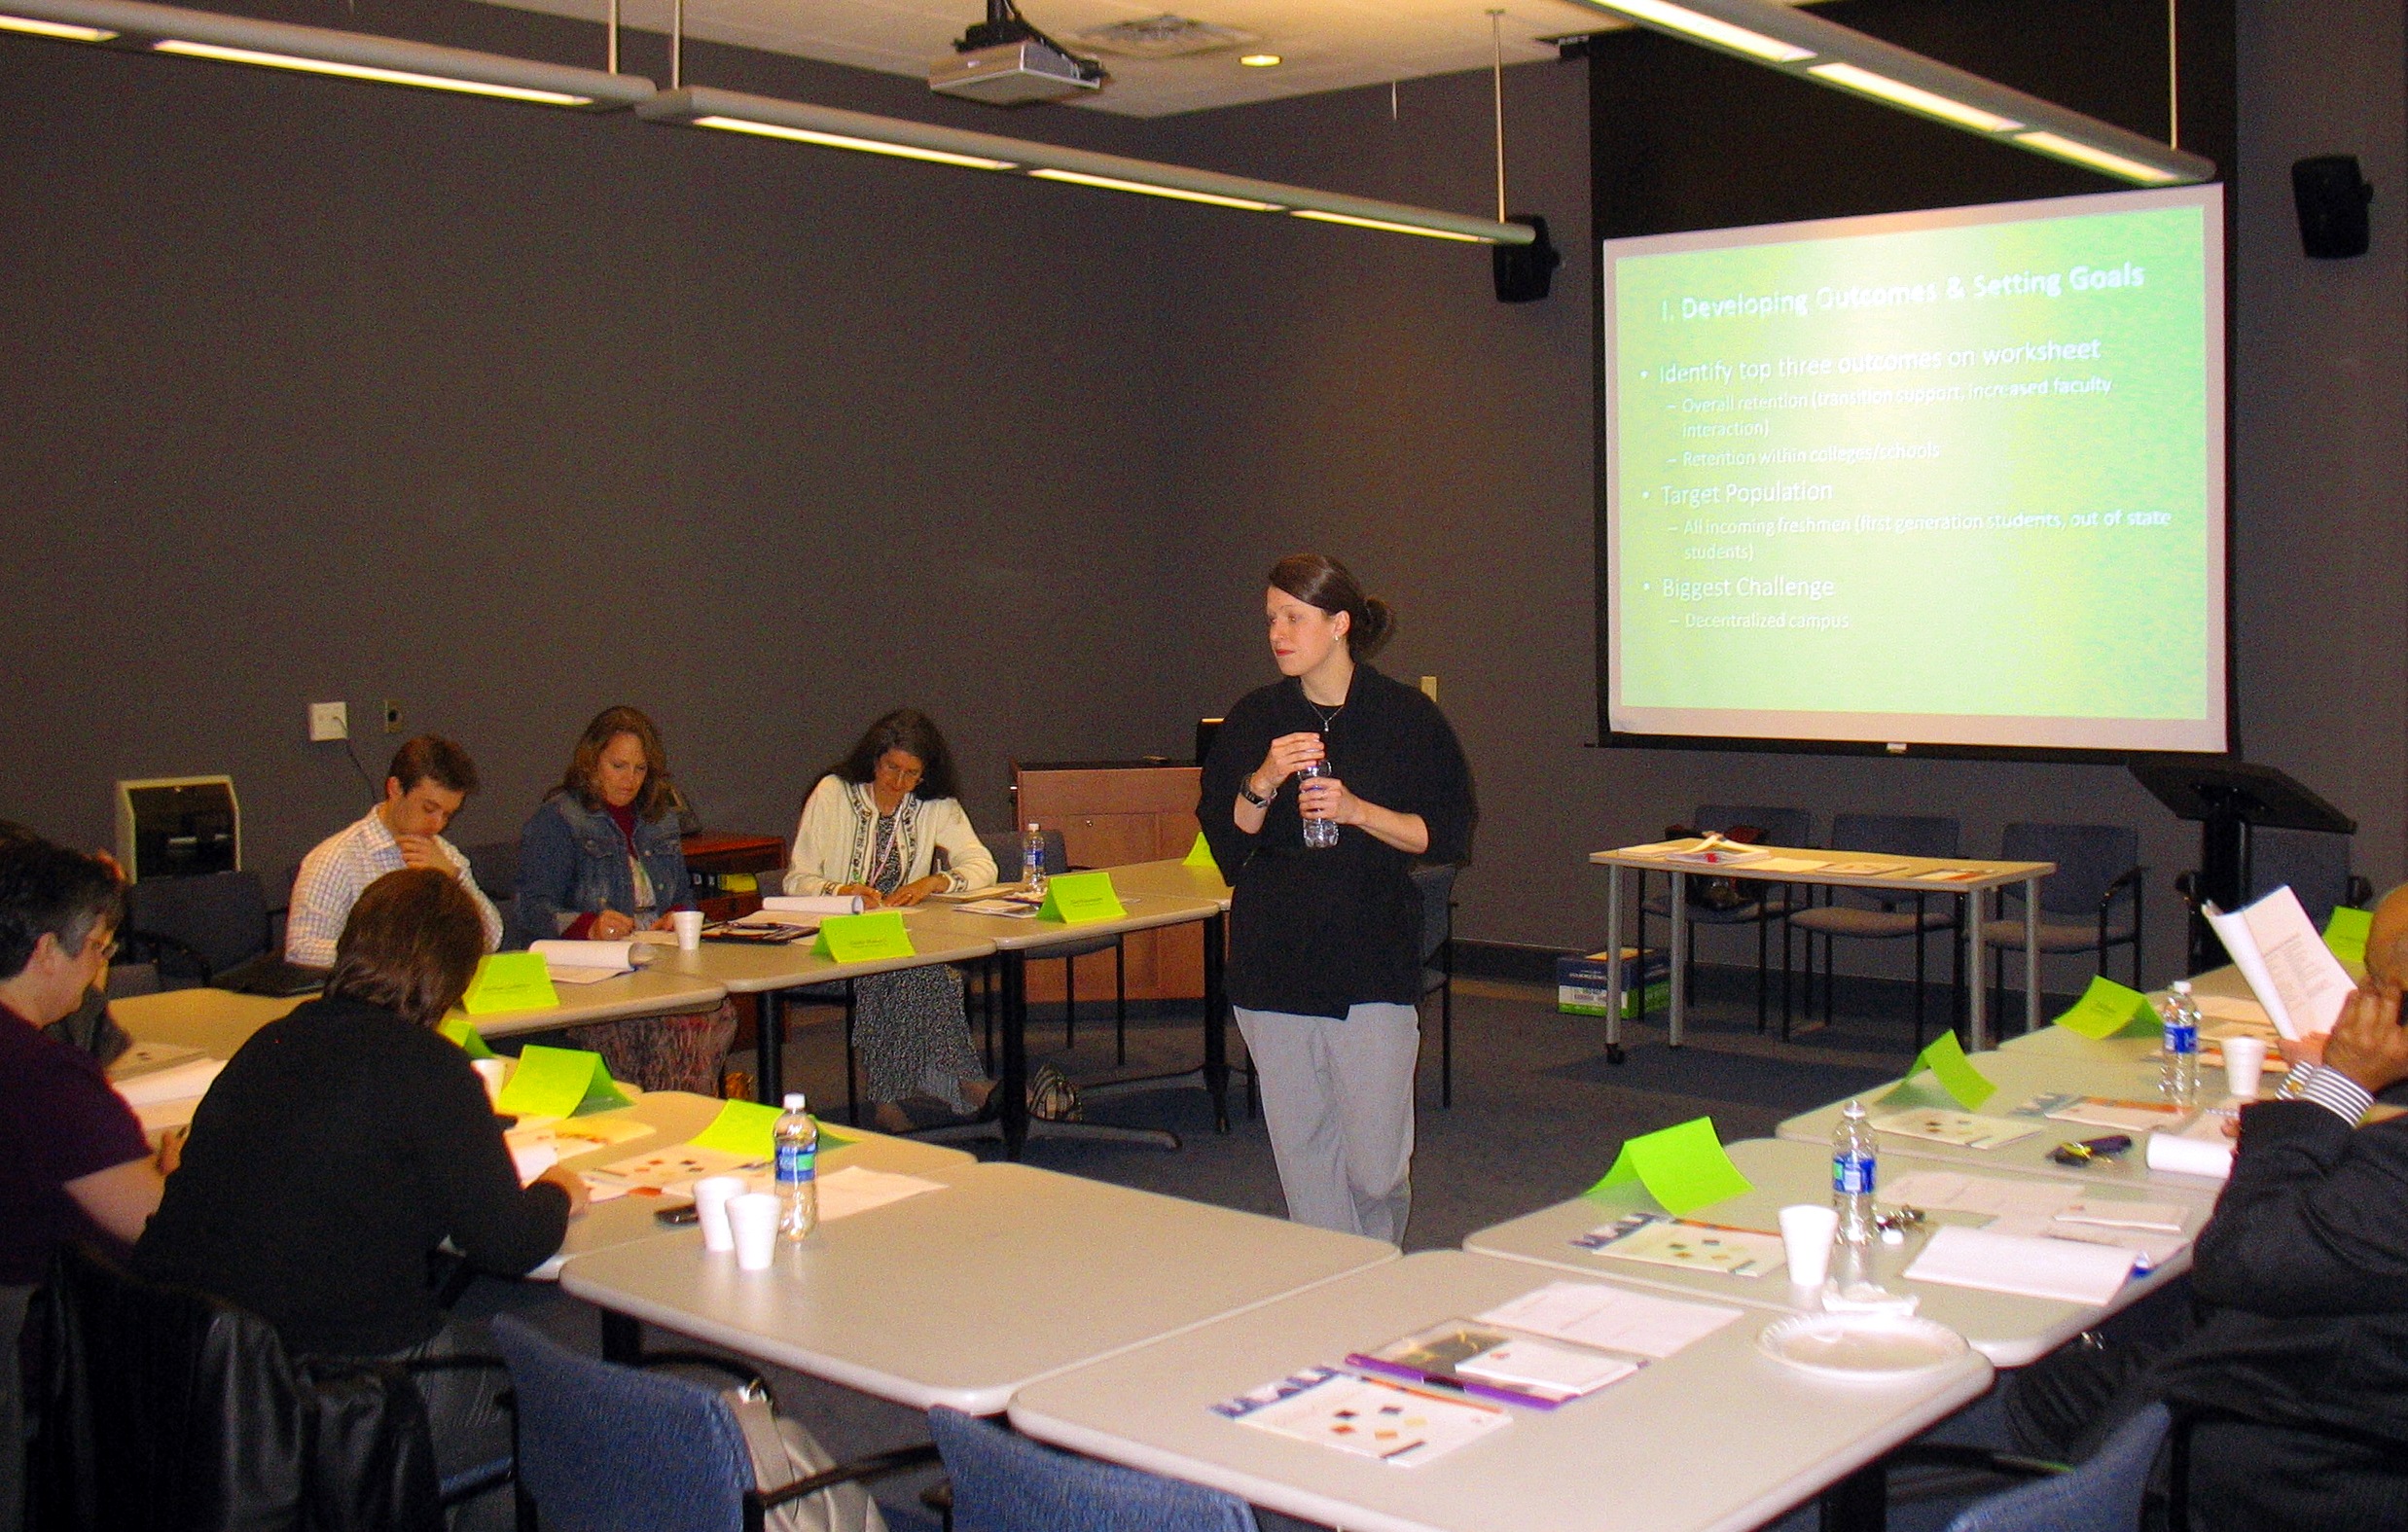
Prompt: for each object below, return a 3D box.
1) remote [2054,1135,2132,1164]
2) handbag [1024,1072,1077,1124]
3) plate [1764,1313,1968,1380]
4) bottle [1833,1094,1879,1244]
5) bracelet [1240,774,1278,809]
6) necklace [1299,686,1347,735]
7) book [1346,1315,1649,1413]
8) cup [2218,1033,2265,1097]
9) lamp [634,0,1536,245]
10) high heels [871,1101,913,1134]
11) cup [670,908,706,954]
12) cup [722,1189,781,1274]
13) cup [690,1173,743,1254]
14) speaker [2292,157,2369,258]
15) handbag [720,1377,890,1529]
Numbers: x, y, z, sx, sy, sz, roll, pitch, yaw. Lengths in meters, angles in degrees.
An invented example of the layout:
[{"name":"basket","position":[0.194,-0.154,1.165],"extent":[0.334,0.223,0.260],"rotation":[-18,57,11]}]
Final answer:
[{"name":"remote","position":[1.927,0.833,3.966],"extent":[0.117,0.031,0.075],"rotation":[-13,11,-17]},{"name":"handbag","position":[-0.585,1.258,6.882],"extent":[0.139,0.160,0.179],"rotation":[1,1,-2]},{"name":"plate","position":[1.133,0.993,3.126],"extent":[0.324,0.055,0.177],"rotation":[-1,3,17]},{"name":"bottle","position":[1.267,0.804,3.562],"extent":[0.073,0.201,0.070],"rotation":[3,-14,1]},{"name":"bracelet","position":[0.137,0.071,4.623],"extent":[0.081,0.045,0.093],"rotation":[5,1,-1]},{"name":"necklace","position":[0.304,-0.133,4.658],"extent":[0.123,0.059,0.120],"rotation":[0,-2,3]},{"name":"book","position":[0.495,1.023,3.134],"extent":[0.481,0.059,0.221],"rotation":[-1,3,16]},{"name":"cup","position":[2.406,0.702,4.311],"extent":[0.137,0.148,0.135],"rotation":[0,-2,0]},{"name":"lamp","position":[-0.410,-2.117,6.529],"extent":[0.433,0.403,3.718],"rotation":[1,3,40]},{"name":"high heels","position":[-1.213,1.370,7.078],"extent":[0.113,0.108,0.191],"rotation":[-9,3,-16]},{"name":"cup","position":[-1.653,0.544,5.824],"extent":[0.117,0.123,0.116],"rotation":[-2,-4,0]},{"name":"cup","position":[-0.870,0.895,3.510],"extent":[0.130,0.136,0.129],"rotation":[-1,-3,0]},{"name":"cup","position":[-0.963,0.886,3.598],"extent":[0.122,0.130,0.122],"rotation":[0,-5,0]},{"name":"speaker","position":[4.553,-2.229,7.372],"extent":[0.259,0.373,0.285],"rotation":[0,3,38]},{"name":"handbag","position":[-0.715,1.301,3.278],"extent":[0.253,0.245,0.528],"rotation":[-2,3,-15]}]
